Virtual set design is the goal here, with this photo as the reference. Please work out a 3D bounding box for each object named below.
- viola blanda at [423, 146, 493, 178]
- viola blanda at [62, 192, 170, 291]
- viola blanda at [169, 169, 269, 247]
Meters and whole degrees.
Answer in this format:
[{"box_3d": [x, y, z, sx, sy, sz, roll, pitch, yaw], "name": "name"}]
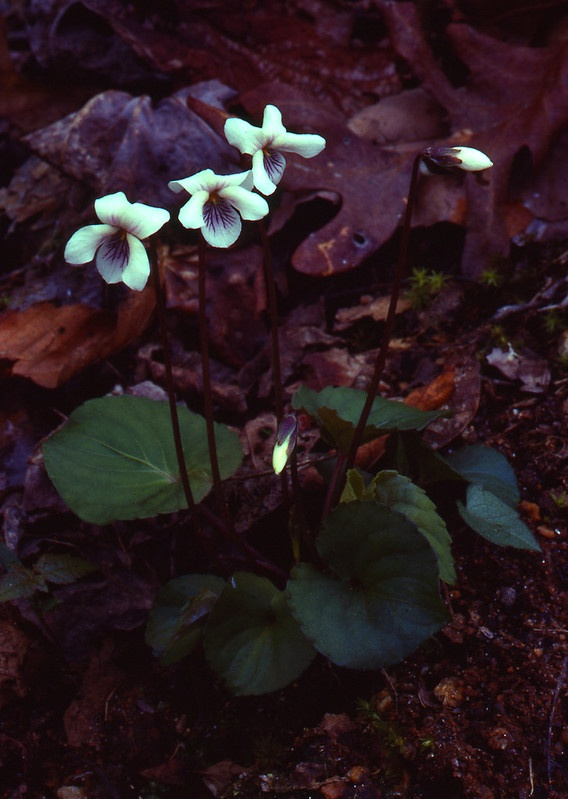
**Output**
[{"box_3d": [0.503, -0.633, 1.956, 0.243, 0.072, 0.074, 7, 19, 15], "name": "viola blanda"}, {"box_3d": [-0.428, -0.405, 1.900, 0.238, 0.238, 0.129, 16, 48, 6], "name": "viola blanda"}, {"box_3d": [-0.182, -0.513, 1.957, 0.246, 0.188, 0.200, -7, 49, -15], "name": "viola blanda"}]
